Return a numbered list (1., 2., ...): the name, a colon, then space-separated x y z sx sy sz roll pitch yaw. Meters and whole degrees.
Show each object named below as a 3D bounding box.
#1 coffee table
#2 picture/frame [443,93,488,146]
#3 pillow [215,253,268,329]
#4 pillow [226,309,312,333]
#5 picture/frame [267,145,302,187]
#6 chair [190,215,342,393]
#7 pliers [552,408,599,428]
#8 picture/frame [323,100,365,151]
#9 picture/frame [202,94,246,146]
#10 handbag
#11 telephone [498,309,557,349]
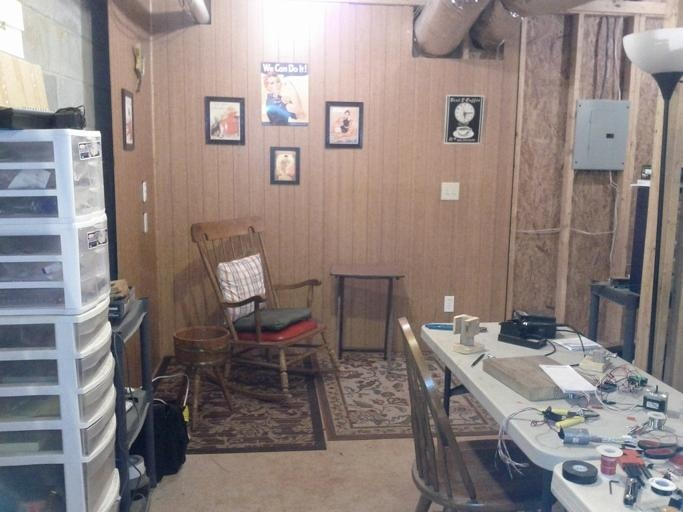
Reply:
1. coffee table: 0.206 0.453 4.901 0.708 0.861 0.755 0 6 1
2. picture/frame: 1.051 -1.191 4.783 0.421 0.493 0.049 2 10 -7
3. pillow: -0.765 0.267 4.314 0.187 0.425 0.572 4 7 21
4. pillow: -0.529 0.469 4.302 0.408 0.107 0.588 8 16 27
5. picture/frame: -0.487 -0.776 4.729 0.351 0.427 0.031 0 9 -12
6. chair: -0.575 0.376 4.342 0.970 1.257 0.989 -7 11 -34
7. pliers: 0.886 0.615 2.133 0.108 0.023 0.085 -4 5 -9
8. picture/frame: 0.015 -1.120 4.721 0.423 0.487 0.026 0 9 -7
9. picture/frame: -0.974 -1.143 4.625 0.413 0.476 0.026 1 12 -7
10. handbag: -0.988 1.018 3.307 0.319 0.411 0.372 -7 -8 -41
11. telephone: 0.974 0.370 2.858 0.243 0.110 0.176 -6 9 -31
